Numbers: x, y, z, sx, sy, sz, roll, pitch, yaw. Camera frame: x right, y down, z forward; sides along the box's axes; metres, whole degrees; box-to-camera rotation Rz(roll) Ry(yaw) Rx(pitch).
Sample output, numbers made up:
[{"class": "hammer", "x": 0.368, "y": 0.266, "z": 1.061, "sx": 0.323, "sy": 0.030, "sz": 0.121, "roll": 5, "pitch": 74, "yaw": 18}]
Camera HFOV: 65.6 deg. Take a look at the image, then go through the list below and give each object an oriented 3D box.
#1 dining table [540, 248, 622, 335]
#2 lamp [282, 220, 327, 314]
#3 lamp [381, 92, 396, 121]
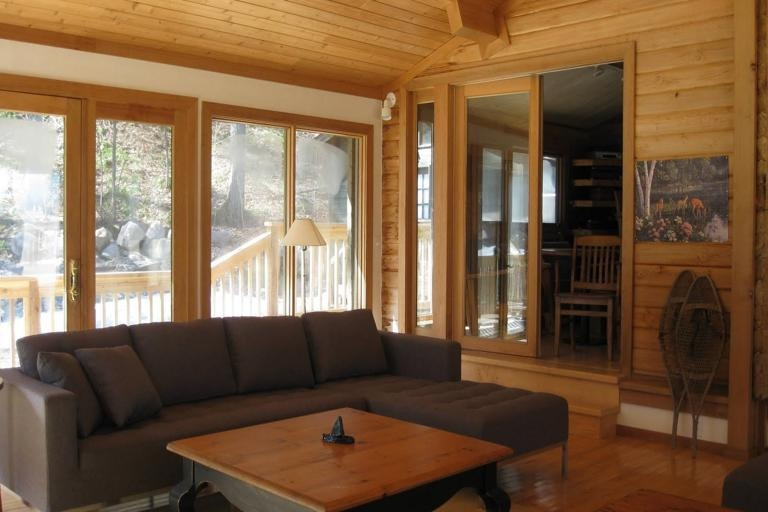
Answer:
[{"class": "dining table", "x": 2.406, "y": 0.406, "z": 6.999, "sx": 0.876, "sy": 1.307, "sz": 0.864, "roll": 0, "pitch": 0, "yaw": 35}, {"class": "lamp", "x": -0.856, "y": 0.111, "z": 6.396, "sx": 0.406, "sy": 1.059, "sz": 0.775, "roll": -4, "pitch": 3, "yaw": -8}, {"class": "lamp", "x": 0.052, "y": -1.793, "z": 7.133, "sx": 0.201, "sy": 0.324, "sz": 0.246, "roll": -3, "pitch": 3, "yaw": -1}]
